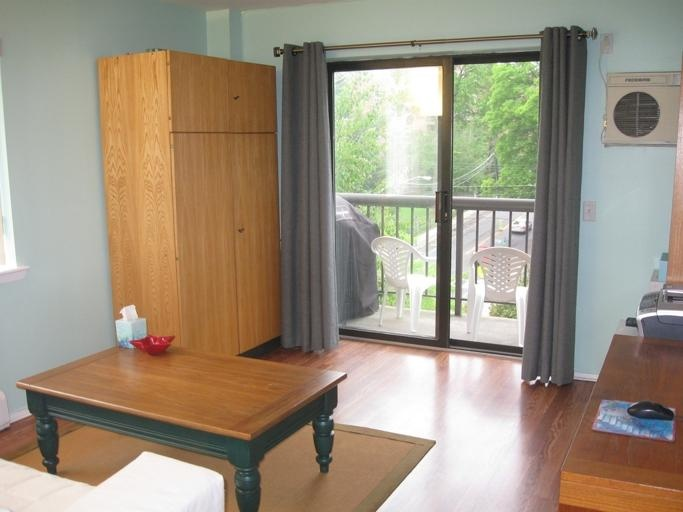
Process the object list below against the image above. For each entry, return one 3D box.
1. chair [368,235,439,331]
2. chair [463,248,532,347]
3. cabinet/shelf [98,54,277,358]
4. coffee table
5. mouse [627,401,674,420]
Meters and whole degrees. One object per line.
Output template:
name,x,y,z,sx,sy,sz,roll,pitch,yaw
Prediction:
chair,0.597,0.234,4.969,0.598,0.827,0.634,3,9,24
chair,1.393,0.312,4.658,0.597,0.840,0.584,0,11,-1
cabinet/shelf,-1.090,-0.320,4.164,1.305,2.306,0.630,-10,17,-36
coffee table,-0.796,0.875,2.839,1.440,0.529,0.737,5,14,23
mouse,1.048,0.514,1.833,0.118,0.038,0.066,-3,6,16
